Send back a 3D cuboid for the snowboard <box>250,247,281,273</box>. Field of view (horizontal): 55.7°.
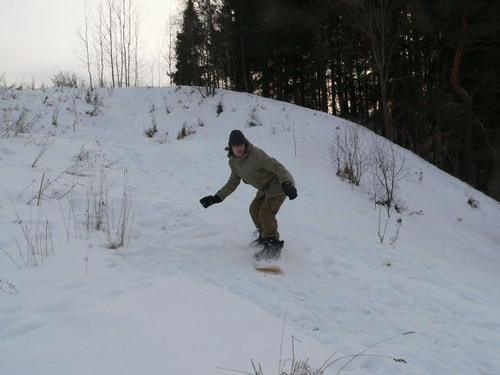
[{"bbox_3d":[0.248,1.466,9.503,0.464,0.274,0.813,-11,19,-36],"label":"snowboard"}]

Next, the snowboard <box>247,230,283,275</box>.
[{"bbox_3d":[0.282,1.329,9.670,0.546,0.488,1.150,-3,16,-13],"label":"snowboard"}]
